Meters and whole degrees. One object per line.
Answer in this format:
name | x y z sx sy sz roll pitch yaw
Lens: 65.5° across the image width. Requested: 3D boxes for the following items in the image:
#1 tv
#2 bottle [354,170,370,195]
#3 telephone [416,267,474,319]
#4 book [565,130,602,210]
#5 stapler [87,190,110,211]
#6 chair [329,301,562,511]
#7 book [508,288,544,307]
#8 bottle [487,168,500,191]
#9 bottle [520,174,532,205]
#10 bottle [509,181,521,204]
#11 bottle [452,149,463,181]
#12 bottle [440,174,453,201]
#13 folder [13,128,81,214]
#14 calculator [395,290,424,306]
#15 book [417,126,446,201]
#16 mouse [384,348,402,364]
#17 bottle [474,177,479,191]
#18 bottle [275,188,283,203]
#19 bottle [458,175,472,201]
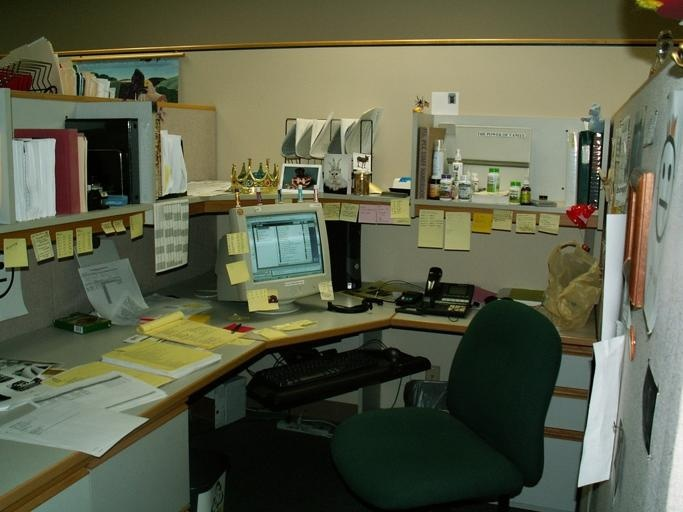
tv | -0.211 -0.009 2.762 0.528 0.525 0.441 -6 5 21
bottle | 0.126 -0.405 2.886 0.108 0.129 0.094 -3 14 -17
telephone | 0.552 0.178 2.726 0.352 0.131 0.384 -5 21 -4
book | 1.184 -0.421 2.568 0.142 0.440 0.343 1 10 17
stapler | -0.978 -0.237 2.151 0.058 0.079 0.154 -1 14 -12
chair | 0.371 0.475 2.303 0.920 1.050 0.732 -2 12 -20
book | 0.986 0.204 2.785 0.121 0.029 0.126 -5 7 -41
bottle | 0.781 -0.390 2.694 0.064 0.117 0.091 5 14 15
bottle | 0.935 -0.330 2.663 0.059 0.126 0.130 6 14 18
bottle | 0.882 -0.326 2.668 0.056 0.106 0.100 6 14 18
bottle | 0.605 -0.471 2.735 0.059 0.153 0.129 4 14 12
bottle | 0.533 -0.350 2.682 0.054 0.122 0.036 1 13 -2
folder | -1.111 -0.329 2.012 0.236 0.281 0.300 11 3 -1
calculator | 0.368 0.208 2.755 0.072 0.039 0.102 2 6 26
book | 0.458 -0.461 2.691 0.043 0.423 0.327 7 13 28
mouse | 0.252 0.467 2.530 0.060 0.054 0.098 4 -7 5
bottle | 0.706 -0.377 2.745 0.022 0.079 0.070 8 15 27
bottle | -0.327 -0.322 2.828 0.049 0.086 0.091 1 6 3
bottle | 0.640 -0.346 2.688 0.088 0.122 0.060 -7 16 -33
